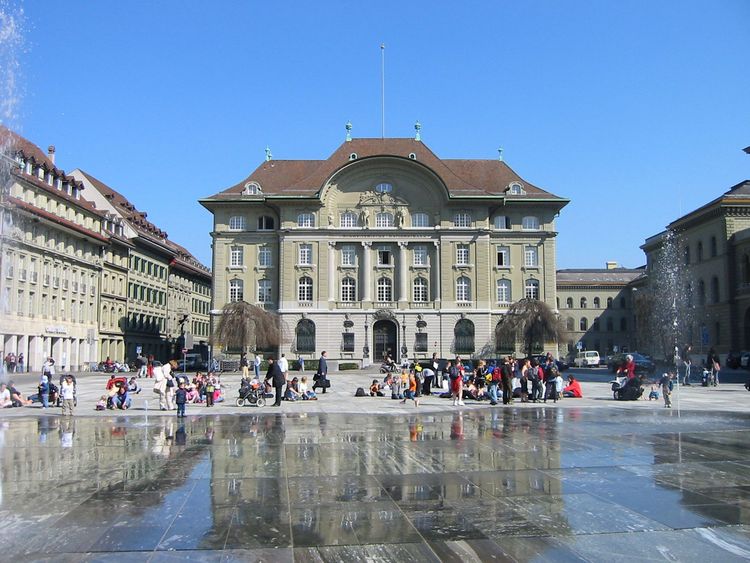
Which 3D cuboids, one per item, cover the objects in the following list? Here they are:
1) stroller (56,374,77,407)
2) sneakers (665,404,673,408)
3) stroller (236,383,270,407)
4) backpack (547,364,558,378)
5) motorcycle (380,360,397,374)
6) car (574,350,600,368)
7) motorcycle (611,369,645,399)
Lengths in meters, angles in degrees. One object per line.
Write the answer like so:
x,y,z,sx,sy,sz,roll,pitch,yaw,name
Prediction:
-10.914,4.016,30.169,0.617,1.412,0.450,-2,10,-30,stroller
11.111,4.696,32.288,0.290,0.142,0.694,-4,-9,18,sneakers
-4.826,4.461,33.379,1.084,0.996,0.805,4,-8,-1,stroller
7.569,3.848,36.602,0.494,0.406,0.729,5,16,-5,backpack
0.752,5.769,56.313,1.461,0.997,0.996,-8,-9,37,motorcycle
21.123,7.805,84.963,1.314,1.127,2.230,0,-1,2,car
10.818,4.598,36.558,1.841,1.135,0.897,-5,-7,28,motorcycle
